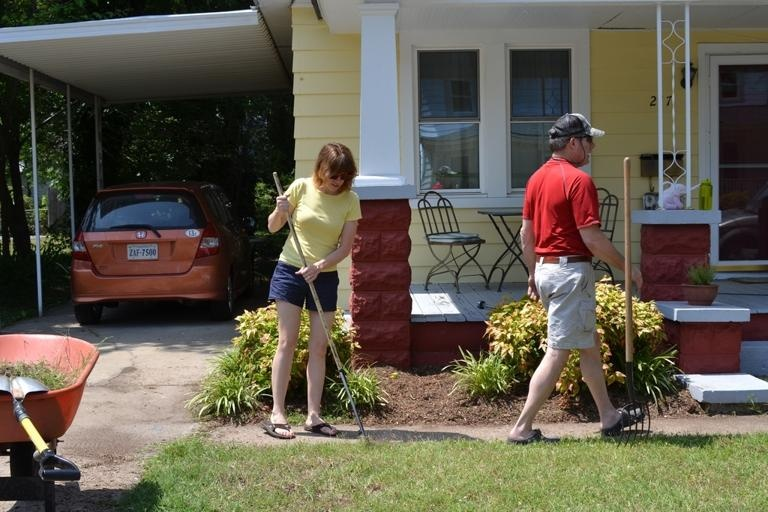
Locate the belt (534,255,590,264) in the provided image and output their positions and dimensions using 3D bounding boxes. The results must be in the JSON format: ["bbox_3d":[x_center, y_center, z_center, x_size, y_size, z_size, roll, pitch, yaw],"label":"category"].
[{"bbox_3d":[1.643,0.039,7.992,0.487,0.096,0.151,2,15,15],"label":"belt"}]

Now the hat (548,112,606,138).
[{"bbox_3d":[1.801,-1.205,8.154,0.460,0.194,0.302,-2,11,-5],"label":"hat"}]

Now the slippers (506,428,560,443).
[{"bbox_3d":[1.372,1.696,8.058,0.473,0.201,0.177,-1,-1,-11],"label":"slippers"}]

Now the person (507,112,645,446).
[{"bbox_3d":[1.670,0.213,8.060,1.112,2.929,0.853,-2,14,1],"label":"person"}]

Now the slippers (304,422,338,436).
[{"bbox_3d":[-0.601,1.655,8.335,0.284,0.093,0.122,0,2,30],"label":"slippers"}]

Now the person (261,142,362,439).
[{"bbox_3d":[-0.709,0.330,8.317,1.092,2.707,0.743,-7,14,-18],"label":"person"}]

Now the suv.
[{"bbox_3d":[-3.048,-0.174,12.159,1.382,1.179,2.663,-1,5,0],"label":"suv"}]

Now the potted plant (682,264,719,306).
[{"bbox_3d":[3.463,0.337,9.345,0.380,0.490,0.392,-2,-3,36],"label":"potted plant"}]

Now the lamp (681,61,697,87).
[{"bbox_3d":[4.025,-2.378,11.509,0.213,0.332,0.668,3,16,20],"label":"lamp"}]

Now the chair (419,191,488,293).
[{"bbox_3d":[0.882,-0.128,11.169,0.922,1.258,1.239,-1,14,3],"label":"chair"}]
